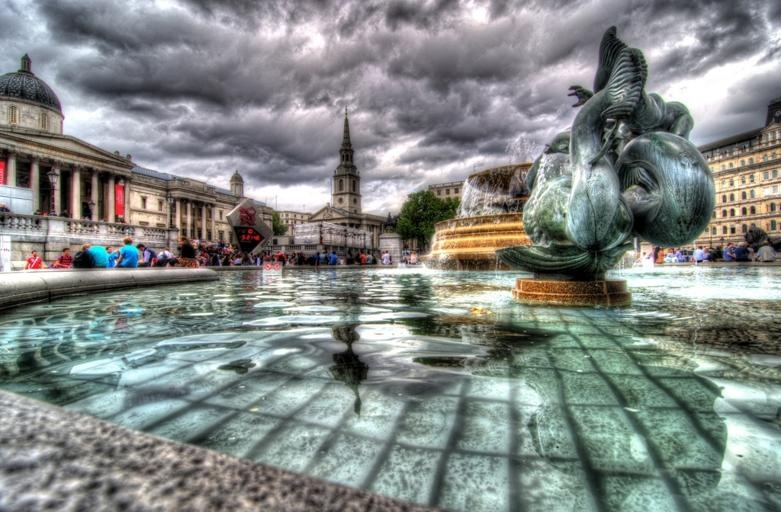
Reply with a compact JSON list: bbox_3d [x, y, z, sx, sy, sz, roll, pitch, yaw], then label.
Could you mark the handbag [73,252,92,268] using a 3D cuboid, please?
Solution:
[{"bbox_3d":[-6.096,0.073,7.624,0.244,0.206,0.201,-22,42,-2],"label":"handbag"}]
